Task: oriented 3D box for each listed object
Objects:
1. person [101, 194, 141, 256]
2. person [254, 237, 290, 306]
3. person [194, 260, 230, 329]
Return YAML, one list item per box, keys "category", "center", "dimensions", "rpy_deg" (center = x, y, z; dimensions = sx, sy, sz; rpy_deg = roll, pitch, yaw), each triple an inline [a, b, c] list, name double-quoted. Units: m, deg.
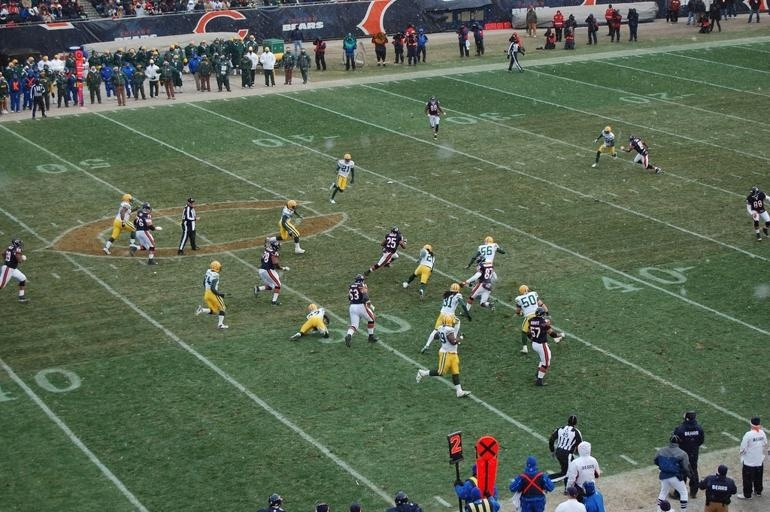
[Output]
- category: "person"
  center: [-8.390, -1.022, 40.531]
  dimensions: [1.468, 1.779, 1.150]
  rpy_deg: [-1, 5, -14]
- category: "person"
  center: [-3.320, 0.448, 37.563]
  dimensions: [1.094, 1.910, 0.907]
  rpy_deg: [4, -1, -1]
- category: "person"
  center: [-4.843, 1.153, 36.315]
  dimensions: [0.828, 1.807, 0.942]
  rpy_deg: [-1, 3, 8]
